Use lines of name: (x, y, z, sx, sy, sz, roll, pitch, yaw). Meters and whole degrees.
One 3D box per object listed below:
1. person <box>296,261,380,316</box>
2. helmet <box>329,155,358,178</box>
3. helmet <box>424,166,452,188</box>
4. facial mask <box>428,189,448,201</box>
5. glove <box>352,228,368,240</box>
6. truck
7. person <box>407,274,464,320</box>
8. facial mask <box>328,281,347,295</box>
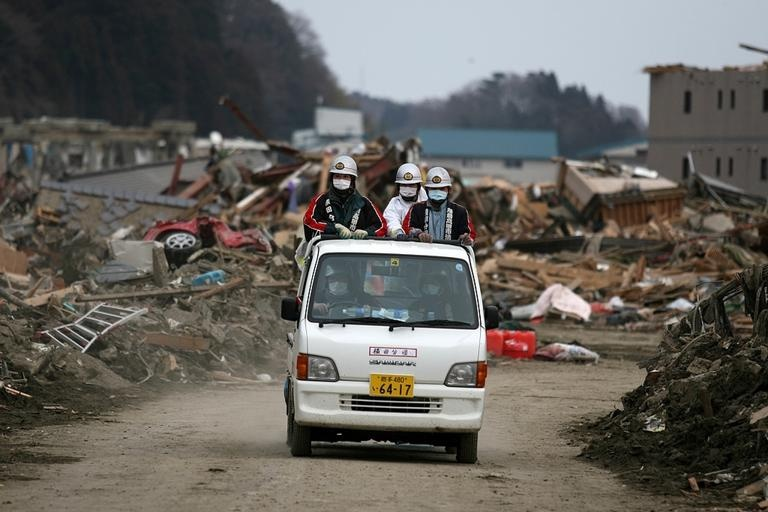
person: (-0.626, 0.469, 19.276, 0.970, 0.889, 0.230, 3, -5, -11)
helmet: (-0.691, -1.562, 20.949, 0.430, 0.354, 0.354, 2, 11, -5)
helmet: (0.934, -1.383, 21.338, 0.433, 0.368, 0.314, 3, 11, 3)
facial mask: (0.925, -1.101, 21.355, 0.339, 0.205, 0.203, 3, 11, -1)
glove: (-0.400, -0.373, 20.034, 0.217, 0.103, 0.279, 2, -1, -4)
truck: (-0.108, 1.663, 20.741, 2.412, 2.307, 4.075, 2, -11, -2)
person: (0.847, 0.658, 19.361, 0.719, 0.708, 0.168, 3, -7, 11)
facial mask: (-0.723, 0.482, 19.296, 0.228, 0.179, 0.227, 1, -11, -6)
